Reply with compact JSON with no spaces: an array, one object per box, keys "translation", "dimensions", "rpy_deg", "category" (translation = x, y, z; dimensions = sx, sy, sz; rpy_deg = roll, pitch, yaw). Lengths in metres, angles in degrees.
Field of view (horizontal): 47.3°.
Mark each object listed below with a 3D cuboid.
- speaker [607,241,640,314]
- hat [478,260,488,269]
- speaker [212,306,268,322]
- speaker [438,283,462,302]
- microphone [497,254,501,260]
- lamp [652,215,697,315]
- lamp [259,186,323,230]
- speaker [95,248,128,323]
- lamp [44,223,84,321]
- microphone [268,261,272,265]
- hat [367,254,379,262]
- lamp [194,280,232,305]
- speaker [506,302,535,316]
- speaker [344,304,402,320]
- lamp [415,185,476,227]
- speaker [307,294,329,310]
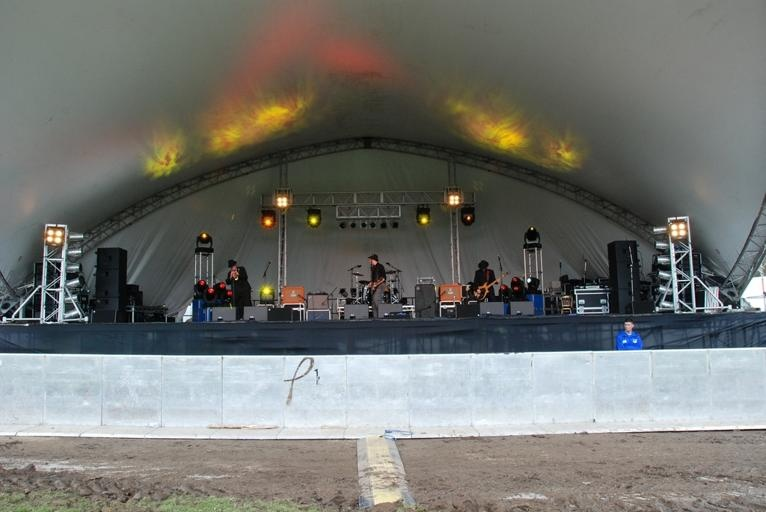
[{"translation":[6.850,0.615,24.858],"dimensions":[0.878,2.105,0.714],"rpy_deg":[-5,-9,13],"category":"speaker"},{"translation":[3.115,0.234,26.864],"dimensions":[0.310,0.275,0.100],"rpy_deg":[14,-8,31],"category":"hat"},{"translation":[-3.919,1.608,24.308],"dimensions":[1.645,0.473,0.346],"rpy_deg":[-5,-9,14],"category":"speaker"},{"translation":[2.035,1.087,26.211],"dimensions":[0.560,0.388,0.541],"rpy_deg":[0,-7,1],"category":"speaker"},{"translation":[4.337,0.017,32.529],"dimensions":[0.198,0.187,0.048],"rpy_deg":[1,-5,23],"category":"microphone"},{"translation":[8.510,0.413,25.632],"dimensions":[0.943,2.765,0.854],"rpy_deg":[-5,-5,21],"category":"lamp"},{"translation":[-3.296,-1.765,32.172],"dimensions":[2.217,1.607,3.010],"rpy_deg":[-2,-9,-5],"category":"lamp"},{"translation":[-7.656,0.808,24.653],"dimensions":[0.885,2.173,0.824],"rpy_deg":[0,-9,-18],"category":"speaker"},{"translation":[-9.292,0.539,25.474],"dimensions":[1.093,2.803,0.916],"rpy_deg":[2,5,-19],"category":"lamp"},{"translation":[-4.200,0.233,32.725],"dimensions":[0.098,0.145,0.182],"rpy_deg":[-5,-9,11],"category":"microphone"},{"translation":[-0.221,0.006,25.161],"dimensions":[0.245,0.105,0.327],"rpy_deg":[-1,-8,14],"category":"hat"},{"translation":[-5.233,1.164,27.177],"dimensions":[1.037,0.363,0.902],"rpy_deg":[4,-6,-27],"category":"lamp"},{"translation":[3.942,1.478,24.696],"dimensions":[0.713,0.456,0.377],"rpy_deg":[-1,-8,6],"category":"speaker"},{"translation":[-0.274,1.525,24.305],"dimensions":[1.534,0.455,0.452],"rpy_deg":[-2,-9,-9],"category":"speaker"},{"translation":[2.343,-1.795,31.985],"dimensions":[2.145,1.616,2.953],"rpy_deg":[-4,-9,6],"category":"lamp"},{"translation":[-1.896,1.353,25.582],"dimensions":[0.763,0.507,0.423],"rpy_deg":[1,-13,-6],"category":"speaker"}]
